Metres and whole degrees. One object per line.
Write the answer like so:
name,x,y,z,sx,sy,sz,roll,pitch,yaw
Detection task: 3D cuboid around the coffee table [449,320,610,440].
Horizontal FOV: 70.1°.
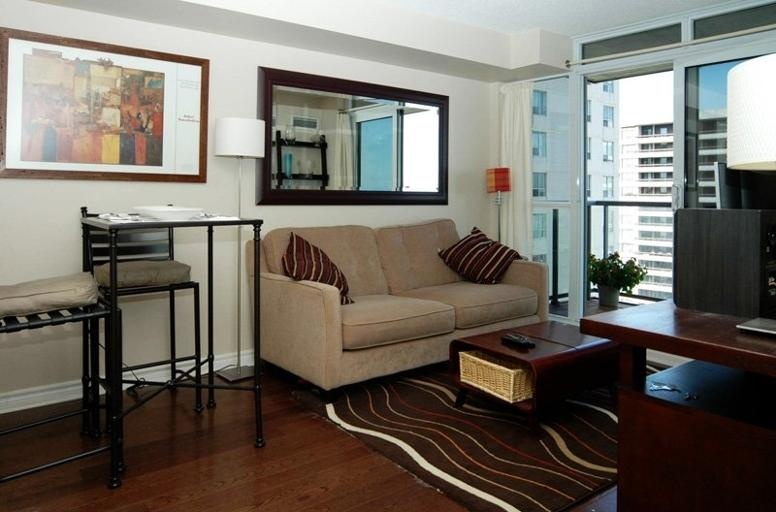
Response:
coffee table,1.129,0.858,4.169,0.955,0.464,1.237,6,7,42

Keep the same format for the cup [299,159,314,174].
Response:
cup,-0.748,-0.826,5.103,0.118,0.110,0.116,0,5,0

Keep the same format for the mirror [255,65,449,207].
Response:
mirror,-0.406,-1.161,5.286,1.537,0.815,0.067,-3,6,-34

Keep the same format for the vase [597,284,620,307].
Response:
vase,2.493,0.452,6.268,0.253,0.250,0.228,3,-5,-36

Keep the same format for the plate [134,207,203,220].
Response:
plate,-1.426,-0.286,3.639,0.401,0.080,0.245,-4,9,-24

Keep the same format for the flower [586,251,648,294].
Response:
flower,2.540,0.128,6.209,0.524,0.368,0.527,3,4,0
